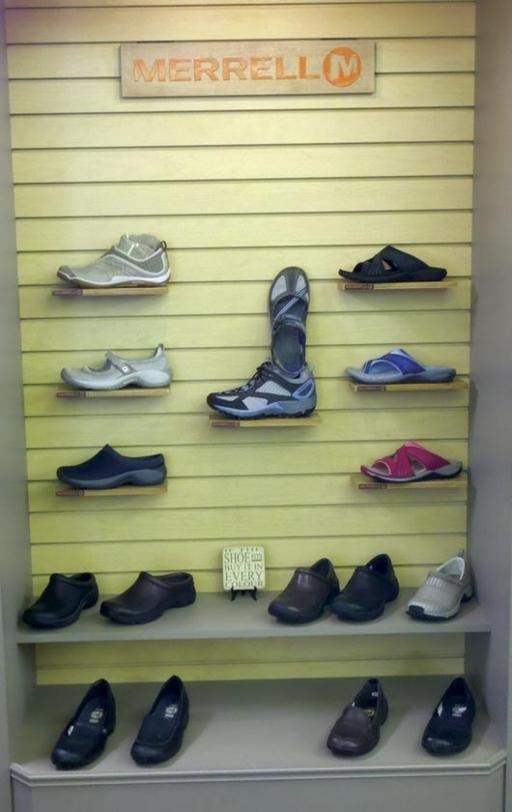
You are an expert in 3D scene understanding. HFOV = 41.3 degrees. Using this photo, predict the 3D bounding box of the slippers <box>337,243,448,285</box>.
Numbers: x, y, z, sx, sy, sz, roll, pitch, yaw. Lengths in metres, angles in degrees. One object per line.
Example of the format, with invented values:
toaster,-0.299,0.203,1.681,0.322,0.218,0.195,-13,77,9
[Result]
slippers,0.439,-0.428,2.145,0.385,0.163,0.134,-1,4,-2

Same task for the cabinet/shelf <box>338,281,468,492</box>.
cabinet/shelf,0.481,-0.084,2.237,0.413,0.682,0.256,0,6,10

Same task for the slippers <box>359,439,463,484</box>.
slippers,0.501,0.173,2.202,0.336,0.147,0.131,-1,-2,-14

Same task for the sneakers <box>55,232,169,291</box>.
sneakers,-0.412,-0.456,2.125,0.419,0.205,0.158,-3,13,-12

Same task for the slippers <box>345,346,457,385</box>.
slippers,0.470,-0.102,2.200,0.258,0.101,0.156,2,0,-4

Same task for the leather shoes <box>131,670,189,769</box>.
leather shoes,-0.284,0.931,1.990,0.088,0.105,0.248,2,10,7

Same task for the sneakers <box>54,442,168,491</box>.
sneakers,-0.463,0.199,2.251,0.373,0.164,0.144,1,-2,-8

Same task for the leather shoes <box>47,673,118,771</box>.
leather shoes,-0.501,0.957,2.037,0.126,0.108,0.338,12,11,4

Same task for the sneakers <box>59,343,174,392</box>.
sneakers,-0.429,-0.124,2.154,0.373,0.177,0.140,-1,3,-10

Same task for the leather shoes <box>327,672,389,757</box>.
leather shoes,0.309,0.932,2.048,0.097,0.095,0.248,-3,4,20

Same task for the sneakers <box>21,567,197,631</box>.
sneakers,-0.467,0.611,2.162,0.234,0.107,0.341,-3,-4,32

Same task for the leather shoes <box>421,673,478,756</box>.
leather shoes,0.597,0.947,2.075,0.131,0.120,0.351,-3,0,25

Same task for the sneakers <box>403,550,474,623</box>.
sneakers,0.606,0.584,2.185,0.130,0.149,0.337,-1,7,38
